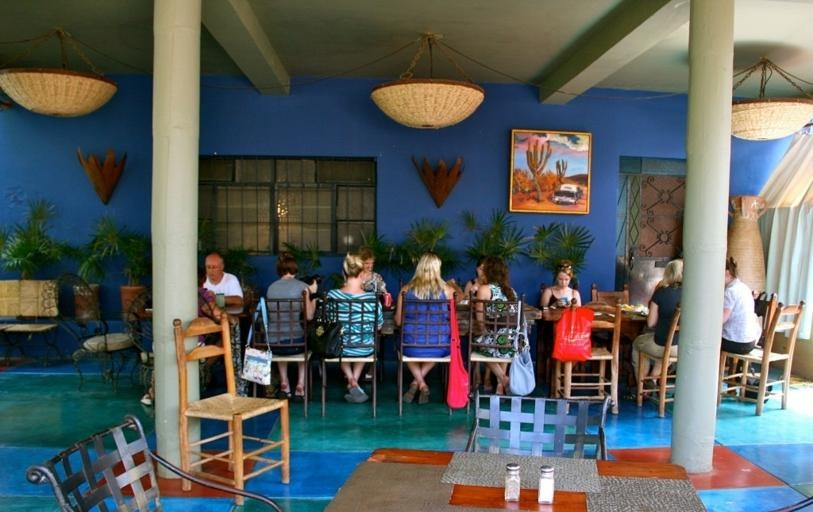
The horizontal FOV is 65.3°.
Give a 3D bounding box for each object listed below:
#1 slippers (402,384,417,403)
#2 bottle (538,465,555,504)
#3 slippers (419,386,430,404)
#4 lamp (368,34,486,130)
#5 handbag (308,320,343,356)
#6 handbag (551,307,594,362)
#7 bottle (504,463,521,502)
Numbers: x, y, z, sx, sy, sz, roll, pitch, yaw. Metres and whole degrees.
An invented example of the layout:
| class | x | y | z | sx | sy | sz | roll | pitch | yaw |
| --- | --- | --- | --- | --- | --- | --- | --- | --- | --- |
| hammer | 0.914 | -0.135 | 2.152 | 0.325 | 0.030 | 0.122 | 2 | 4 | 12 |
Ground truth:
| class | x | y | z | sx | sy | sz | roll | pitch | yaw |
| --- | --- | --- | --- | --- | --- | --- | --- | --- | --- |
| slippers | 0.049 | 1.597 | 7.424 | 0.146 | 0.240 | 0.101 | 28 | -8 | 16 |
| bottle | 0.971 | 1.583 | 4.395 | 0.105 | 0.249 | 0.058 | -1 | 2 | 7 |
| slippers | 0.228 | 1.629 | 7.456 | 0.086 | 0.217 | 0.080 | 2 | 8 | -3 |
| lamp | 0.288 | -2.032 | 7.381 | 1.414 | 0.984 | 1.345 | -1 | 4 | -38 |
| handbag | -0.919 | 0.885 | 7.133 | 0.202 | 0.445 | 0.473 | 17 | -8 | -42 |
| handbag | 1.851 | 0.870 | 7.018 | 0.494 | 0.565 | 0.208 | 2 | 1 | 8 |
| bottle | 0.742 | 1.568 | 4.438 | 0.107 | 0.245 | 0.119 | -1 | 2 | 6 |
